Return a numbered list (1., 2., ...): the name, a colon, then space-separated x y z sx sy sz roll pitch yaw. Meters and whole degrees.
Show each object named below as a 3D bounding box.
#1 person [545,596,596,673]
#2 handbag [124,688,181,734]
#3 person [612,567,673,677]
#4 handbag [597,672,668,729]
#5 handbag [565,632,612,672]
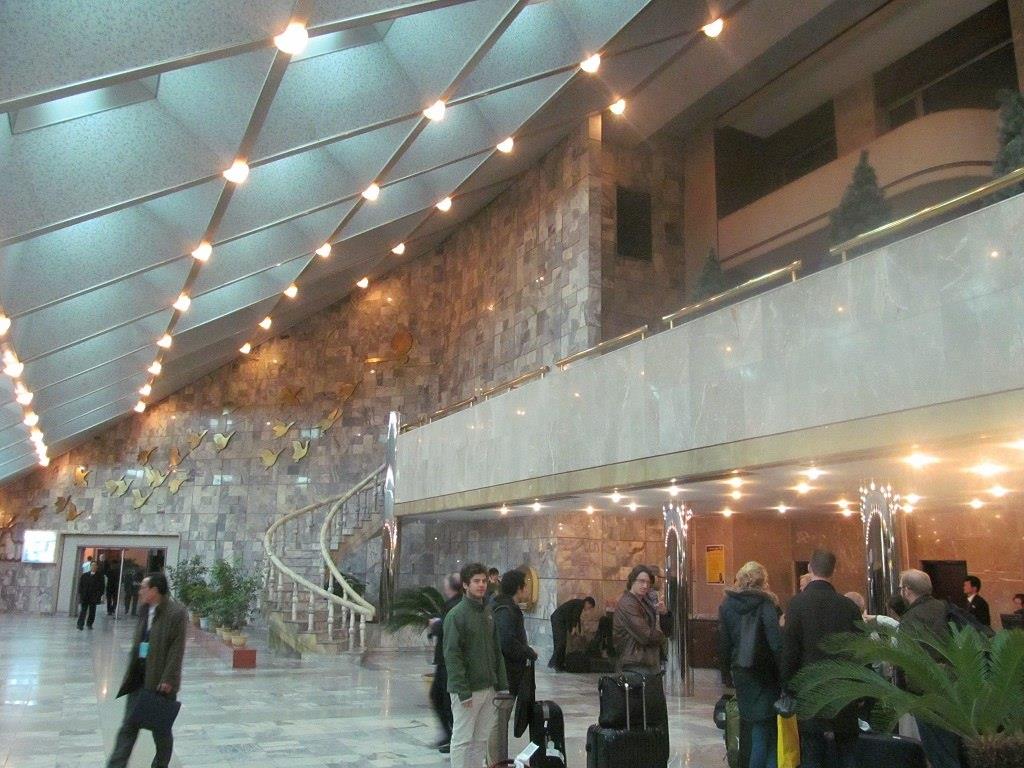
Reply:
1. person: 1.221 5.035 15.290 1.059 1.425 0.759 11 -12 -29
2. handbag: -3.259 2.972 6.973 0.480 0.353 0.223 4 -16 -4
3. person: 1.434 2.657 8.645 0.545 1.127 0.485 0 -16 8
4. handbag: 1.093 2.897 7.004 0.629 0.522 0.443 5 -22 -14
5. handbag: 1.515 5.299 15.100 0.914 0.709 0.430 4 -16 -4
